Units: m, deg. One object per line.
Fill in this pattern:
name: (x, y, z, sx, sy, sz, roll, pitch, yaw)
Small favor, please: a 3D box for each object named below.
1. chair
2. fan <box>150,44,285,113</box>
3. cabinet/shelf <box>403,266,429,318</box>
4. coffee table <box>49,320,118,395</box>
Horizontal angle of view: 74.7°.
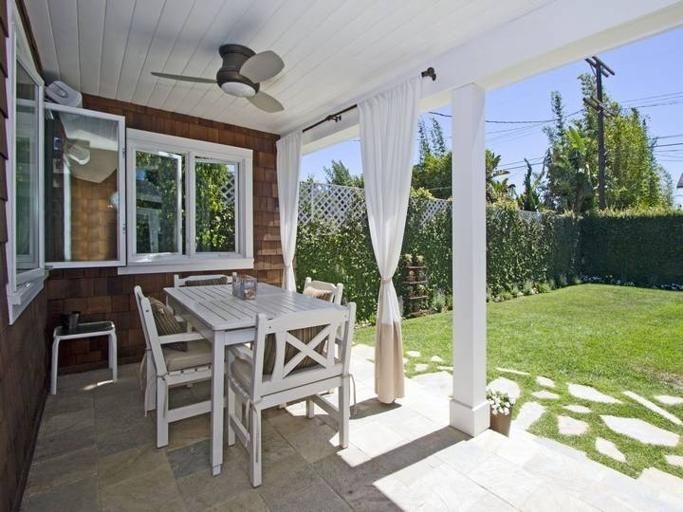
chair: (-0.701, 0.900, 4.120, 1.596, 1.639, 2.105, -1, 2, -30)
fan: (-0.875, -1.630, 4.010, 1.015, 0.486, 0.730, -1, 3, 24)
cabinet/shelf: (1.199, 0.535, 7.113, 0.508, 0.822, 0.175, -4, 4, -36)
coffee table: (-2.615, 0.927, 4.614, 0.640, 0.706, 0.626, -1, 3, -27)
